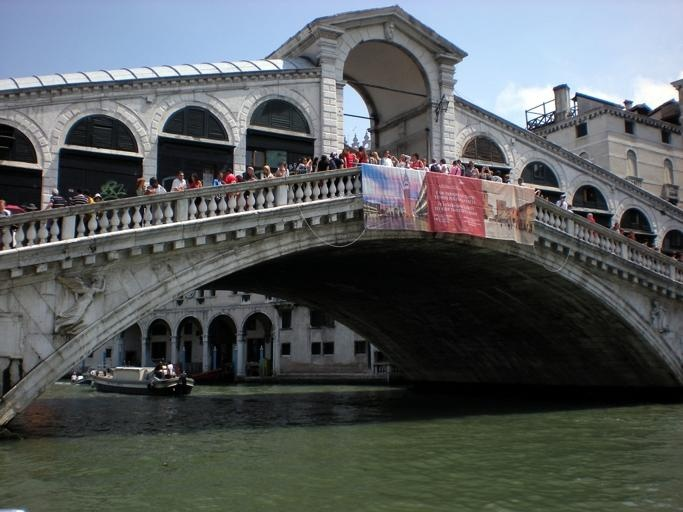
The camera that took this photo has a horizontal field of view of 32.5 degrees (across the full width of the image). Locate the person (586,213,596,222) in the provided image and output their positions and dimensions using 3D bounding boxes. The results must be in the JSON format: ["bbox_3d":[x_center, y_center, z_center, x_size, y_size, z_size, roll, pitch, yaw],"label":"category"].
[{"bbox_3d":[12.288,-1.945,58.058,0.459,0.280,0.794,29,17,19],"label":"person"}]

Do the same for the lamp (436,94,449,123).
[{"bbox_3d":[4.894,-7.250,57.168,0.760,1.256,0.375,-6,-12,5],"label":"lamp"}]

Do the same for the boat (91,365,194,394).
[{"bbox_3d":[-11.906,7.595,70.108,1.216,2.270,9.070,4,-13,-37],"label":"boat"}]

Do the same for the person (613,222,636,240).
[{"bbox_3d":[14.175,-1.261,59.157,0.344,0.515,1.421,-9,-36,44],"label":"person"}]
